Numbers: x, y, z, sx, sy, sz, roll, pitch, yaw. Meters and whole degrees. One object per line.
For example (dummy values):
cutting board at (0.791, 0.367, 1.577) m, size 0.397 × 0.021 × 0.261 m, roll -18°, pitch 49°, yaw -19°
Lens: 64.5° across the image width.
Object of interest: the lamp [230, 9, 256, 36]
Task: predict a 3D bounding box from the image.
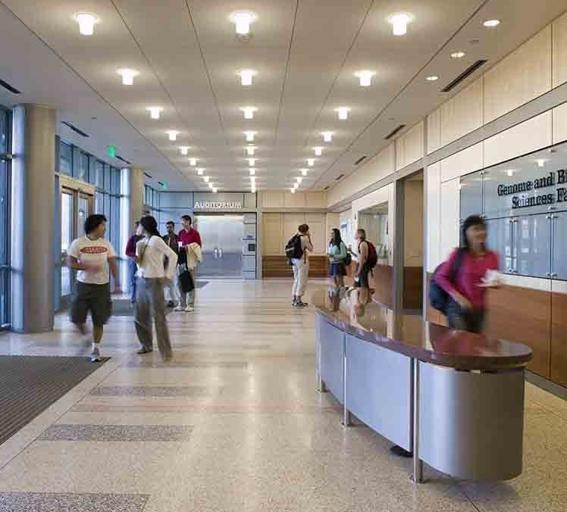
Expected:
lamp at (-0.431, -2.440, 4.761) m, size 0.246 × 0.125 × 0.353 m, roll 0°, pitch 2°, yaw -6°

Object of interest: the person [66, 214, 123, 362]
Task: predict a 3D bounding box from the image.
person at (-2.310, 0.383, 5.435) m, size 0.548 × 1.761 × 0.329 m, roll -1°, pitch 2°, yaw -29°

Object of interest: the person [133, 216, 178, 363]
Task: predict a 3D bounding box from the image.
person at (-1.651, 0.372, 5.768) m, size 0.502 × 1.784 × 0.716 m, roll 0°, pitch 2°, yaw -19°

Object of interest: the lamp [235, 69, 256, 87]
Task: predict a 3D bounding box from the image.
lamp at (-0.528, -2.454, 6.194) m, size 0.153 × 0.118 × 0.159 m, roll 1°, pitch 6°, yaw 33°

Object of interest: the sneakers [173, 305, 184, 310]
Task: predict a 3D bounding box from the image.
sneakers at (-2.244, 1.092, 9.520) m, size 0.218 × 0.107 × 0.087 m, roll 2°, pitch -4°, yaw 0°

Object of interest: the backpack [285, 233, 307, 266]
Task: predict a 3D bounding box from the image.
backpack at (0.303, -0.185, 10.262) m, size 0.372 × 0.731 × 0.539 m, roll 2°, pitch 1°, yaw 4°

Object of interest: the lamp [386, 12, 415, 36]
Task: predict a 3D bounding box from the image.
lamp at (1.227, -2.421, 4.722) m, size 0.166 × 0.141 × 0.173 m, roll -1°, pitch 2°, yaw -3°

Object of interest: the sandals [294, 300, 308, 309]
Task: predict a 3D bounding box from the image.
sandals at (0.401, 1.100, 10.257) m, size 0.319 × 0.157 × 0.127 m, roll -3°, pitch 0°, yaw -5°

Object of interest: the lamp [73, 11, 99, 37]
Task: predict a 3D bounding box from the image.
lamp at (-2.096, -2.438, 4.748) m, size 0.180 × 0.174 × 0.196 m, roll -6°, pitch 17°, yaw -23°
